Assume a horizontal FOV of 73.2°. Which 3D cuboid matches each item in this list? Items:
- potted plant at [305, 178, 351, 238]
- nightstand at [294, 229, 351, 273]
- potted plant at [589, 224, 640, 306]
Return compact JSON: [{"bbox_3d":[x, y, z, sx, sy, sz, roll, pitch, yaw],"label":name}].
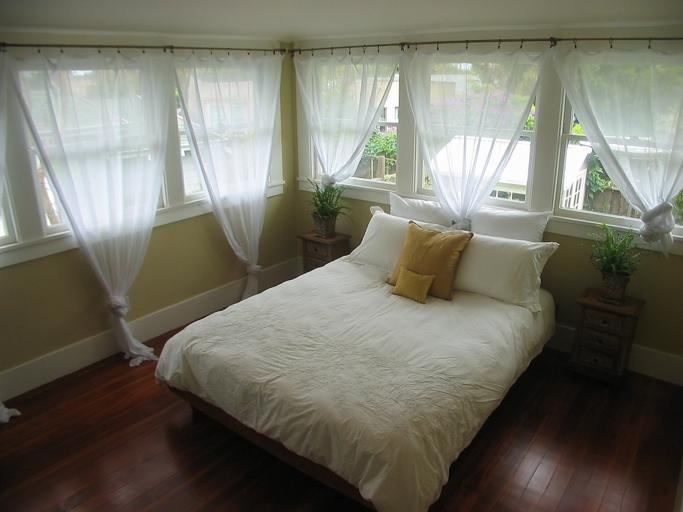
[{"bbox_3d":[-0.157,-0.482,4.953,0.302,0.535,0.384,11,16,22],"label":"potted plant"},{"bbox_3d":[-0.201,-0.213,5.016,0.508,0.567,0.387,17,27,39],"label":"nightstand"},{"bbox_3d":[2.202,0.055,3.710,0.327,0.569,0.331,13,23,35],"label":"potted plant"}]
